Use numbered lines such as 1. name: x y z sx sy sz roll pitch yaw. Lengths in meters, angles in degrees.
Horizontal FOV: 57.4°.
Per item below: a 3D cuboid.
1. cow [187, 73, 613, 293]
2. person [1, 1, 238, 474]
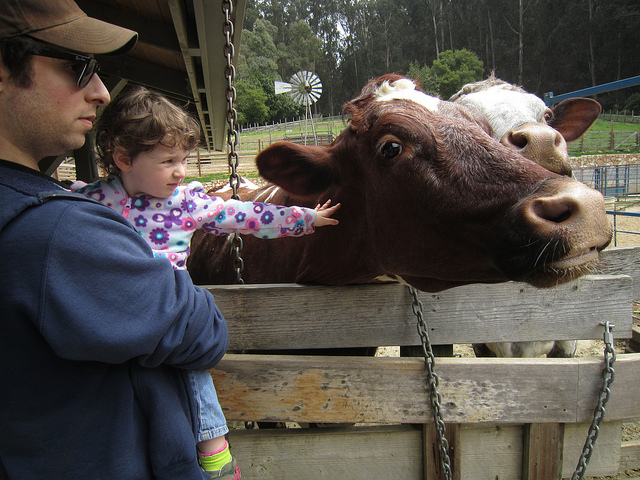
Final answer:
1. cow: 0.461 -0.237 3.042 1.931 1.260 0.449 7 13 32
2. person: -0.854 0.039 2.318 0.867 1.944 0.460 -3 10 -11
